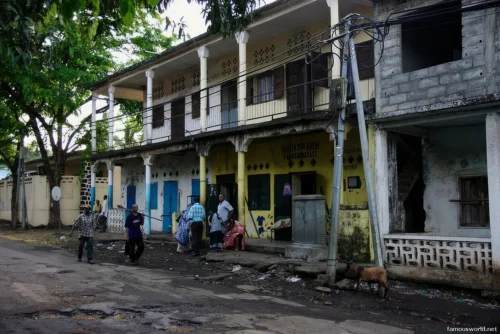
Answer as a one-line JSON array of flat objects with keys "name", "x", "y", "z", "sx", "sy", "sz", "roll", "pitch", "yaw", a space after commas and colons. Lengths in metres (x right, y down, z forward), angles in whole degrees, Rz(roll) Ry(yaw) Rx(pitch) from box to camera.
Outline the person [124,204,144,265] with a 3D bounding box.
[{"name": "person", "x": -4.168, "y": 2.366, "z": 16.422, "sx": 0.606, "sy": 2.031, "sz": 1.063, "roll": 1, "pitch": 0, "yaw": -15}]

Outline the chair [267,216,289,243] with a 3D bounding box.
[{"name": "chair", "x": 1.189, "y": 2.553, "z": 18.764, "sx": 0.845, "sy": 0.941, "sz": 0.952, "roll": 4, "pitch": -14, "yaw": -15}]

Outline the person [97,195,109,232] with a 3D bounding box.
[{"name": "person", "x": -8.414, "y": 2.662, "z": 26.234, "sx": 0.526, "sy": 2.012, "sz": 1.042, "roll": 1, "pitch": 0, "yaw": -18}]
